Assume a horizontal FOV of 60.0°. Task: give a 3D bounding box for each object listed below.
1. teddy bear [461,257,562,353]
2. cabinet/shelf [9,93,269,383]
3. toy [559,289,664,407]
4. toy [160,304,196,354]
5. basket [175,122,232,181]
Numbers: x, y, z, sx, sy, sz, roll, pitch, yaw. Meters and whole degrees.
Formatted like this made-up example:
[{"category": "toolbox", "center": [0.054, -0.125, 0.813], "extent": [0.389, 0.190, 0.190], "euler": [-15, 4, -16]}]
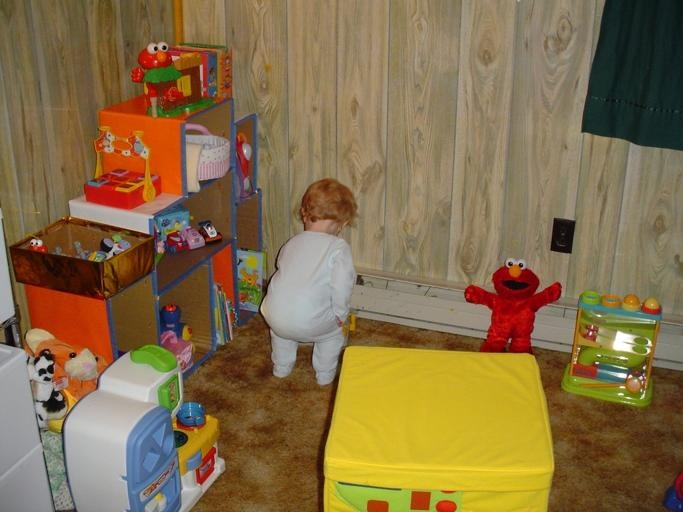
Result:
[{"category": "teddy bear", "center": [0.935, 0.268, 3.179], "extent": [0.451, 0.553, 0.169], "euler": [2, 6, 14]}, {"category": "cabinet/shelf", "center": [-0.950, -0.089, 2.690], "extent": [0.313, 1.049, 1.084], "euler": [10, 32, 9]}, {"category": "toy", "center": [1.359, 0.469, 2.937], "extent": [0.385, 0.470, 0.258], "euler": [10, 29, 21]}, {"category": "toy", "center": [-0.839, 0.369, 3.007], "extent": [0.187, 0.247, 0.126], "euler": [5, 36, 7]}, {"category": "basket", "center": [-0.644, -0.514, 2.922], "extent": [0.265, 0.212, 0.220], "euler": [14, 29, 22]}]
